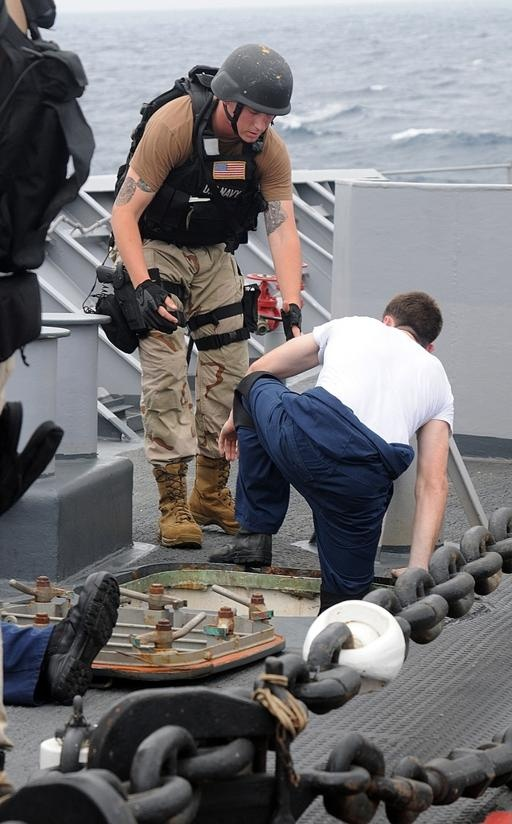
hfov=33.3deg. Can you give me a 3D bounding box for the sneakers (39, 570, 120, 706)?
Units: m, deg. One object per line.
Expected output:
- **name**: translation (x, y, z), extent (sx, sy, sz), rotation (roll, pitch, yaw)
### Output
- **sneakers**: translation (-0.412, 0.512, 1.909), extent (0.213, 0.370, 0.117), rotation (13, 13, 42)

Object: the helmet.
- **helmet**: translation (-0.011, -1.331, 3.404), extent (0.330, 0.303, 0.285), rotation (3, 9, -8)

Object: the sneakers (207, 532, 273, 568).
- **sneakers**: translation (-0.034, 0.546, 3.379), extent (0.278, 0.176, 0.104), rotation (2, -6, 23)

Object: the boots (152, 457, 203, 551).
- **boots**: translation (-0.349, 0.417, 3.859), extent (0.178, 0.367, 0.402), rotation (-4, 6, -18)

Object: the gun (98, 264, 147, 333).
- **gun**: translation (-0.565, -0.482, 3.663), extent (0.091, 0.295, 0.119), rotation (-25, -15, -16)
